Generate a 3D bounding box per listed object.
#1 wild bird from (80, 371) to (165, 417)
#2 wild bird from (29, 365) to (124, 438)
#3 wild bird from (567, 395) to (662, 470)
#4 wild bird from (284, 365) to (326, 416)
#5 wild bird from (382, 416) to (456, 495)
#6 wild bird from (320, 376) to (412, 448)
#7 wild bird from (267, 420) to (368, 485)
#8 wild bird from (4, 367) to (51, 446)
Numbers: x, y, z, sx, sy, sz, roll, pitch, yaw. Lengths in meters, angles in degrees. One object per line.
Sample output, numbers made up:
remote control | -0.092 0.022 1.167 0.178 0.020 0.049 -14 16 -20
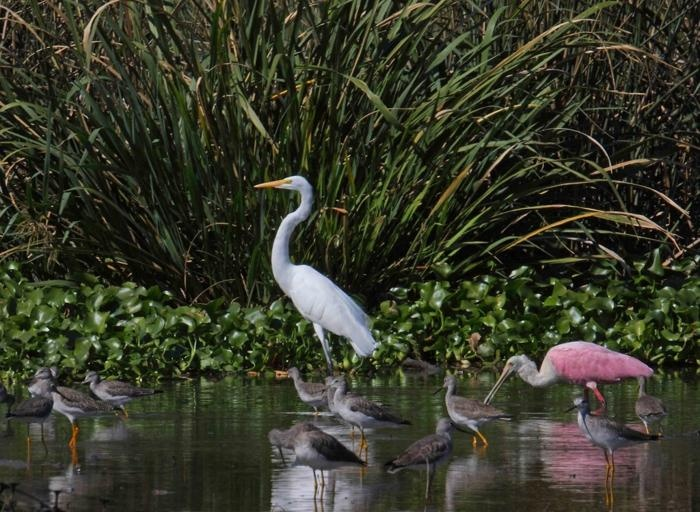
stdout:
wild bird | -2.315 1.364 9.630 0.797 0.500 0.281 -7 -10 -14
wild bird | -2.590 1.400 8.933 0.864 0.769 0.306 9 24 29
wild bird | 2.058 1.447 8.059 1.020 0.799 0.347 -1 -6 7
wild bird | -0.360 1.351 9.596 0.558 0.454 0.259 -5 -1 13
wild bird | 0.571 1.539 7.221 0.616 0.590 0.266 0 -11 -6
wild bird | 0.155 1.371 8.457 0.810 0.590 0.281 2 -12 -3
wild bird | -0.256 1.580 7.398 0.430 0.493 0.864 -3 6 -27
wild bird | -3.047 1.408 8.986 0.427 0.464 1.438 -1 6 -18
